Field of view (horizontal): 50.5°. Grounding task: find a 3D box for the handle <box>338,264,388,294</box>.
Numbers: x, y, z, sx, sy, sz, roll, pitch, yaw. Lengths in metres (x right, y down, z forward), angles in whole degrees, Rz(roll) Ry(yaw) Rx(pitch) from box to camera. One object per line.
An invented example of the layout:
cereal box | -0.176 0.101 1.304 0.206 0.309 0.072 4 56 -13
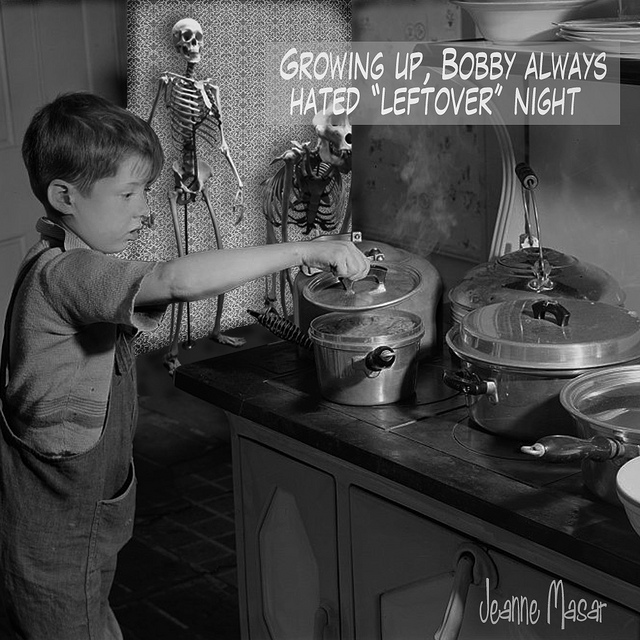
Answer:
handle | 0.103 -0.093 1.543 0.103 0.050 0.153 0 12 5

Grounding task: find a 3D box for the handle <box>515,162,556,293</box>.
handle | 0.484 -0.216 1.532 0.071 0.233 0.275 -7 19 14

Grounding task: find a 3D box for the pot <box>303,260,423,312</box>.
pot | 0.090 -0.120 1.543 0.243 0.124 0.298 -9 17 -20

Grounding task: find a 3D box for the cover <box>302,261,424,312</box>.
cover | 0.064 -0.084 1.531 0.203 0.061 0.210 -24 27 -19

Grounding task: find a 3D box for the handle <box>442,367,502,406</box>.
handle | 0.268 0.097 1.203 0.103 0.065 0.084 -17 20 -39

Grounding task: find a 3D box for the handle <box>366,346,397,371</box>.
handle | 0.123 0.077 1.348 0.049 0.050 0.086 -3 8 -6
